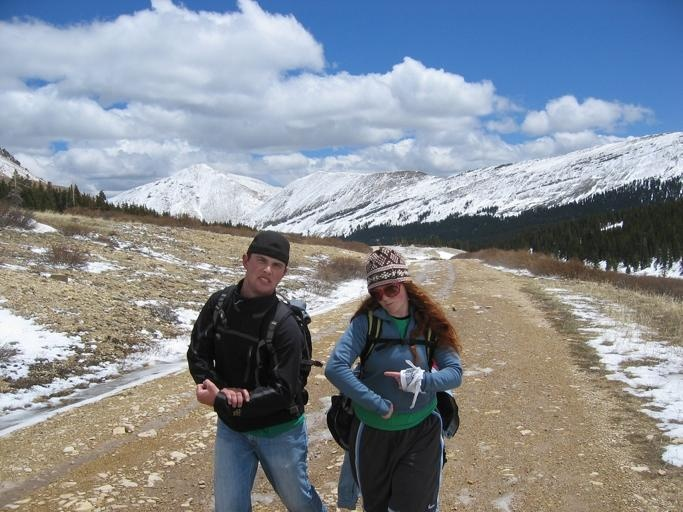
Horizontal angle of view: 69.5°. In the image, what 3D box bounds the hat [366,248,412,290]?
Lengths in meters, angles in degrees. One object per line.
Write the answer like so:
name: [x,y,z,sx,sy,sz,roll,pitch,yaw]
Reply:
hat: [0.527,0.188,5.919,0.460,0.448,0.510,-22,-14,5]
